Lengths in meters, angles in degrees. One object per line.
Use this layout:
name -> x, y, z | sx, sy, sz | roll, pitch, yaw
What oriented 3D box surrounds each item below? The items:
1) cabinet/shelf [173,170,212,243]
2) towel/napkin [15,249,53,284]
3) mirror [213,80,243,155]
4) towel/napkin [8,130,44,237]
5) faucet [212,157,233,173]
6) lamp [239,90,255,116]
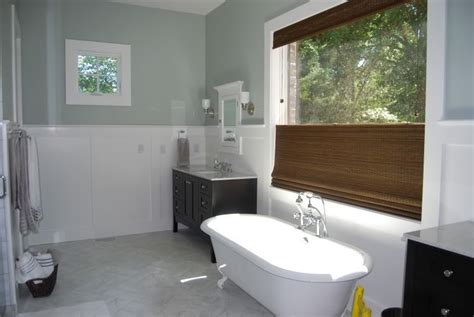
cabinet/shelf -> -0.659, 0.688, 4.653 | 0.409, 0.960, 1.071 | 1, 1, -24
towel/napkin -> -2.204, 1.179, 3.390 | 0.365, 0.379, 0.122 | -5, -1, -29
mirror -> -0.135, -0.647, 4.960 | 0.108, 1.093, 0.782 | -5, 10, -31
towel/napkin -> -2.417, 0.287, 3.570 | 0.272, 1.244, 0.610 | -6, 11, -34
faucet -> -0.234, 0.134, 4.958 | 0.141, 0.169, 0.415 | -1, 3, -24
lamp -> 0.147, -0.791, 4.556 | 0.203, 0.308, 0.145 | -1, 5, -39
